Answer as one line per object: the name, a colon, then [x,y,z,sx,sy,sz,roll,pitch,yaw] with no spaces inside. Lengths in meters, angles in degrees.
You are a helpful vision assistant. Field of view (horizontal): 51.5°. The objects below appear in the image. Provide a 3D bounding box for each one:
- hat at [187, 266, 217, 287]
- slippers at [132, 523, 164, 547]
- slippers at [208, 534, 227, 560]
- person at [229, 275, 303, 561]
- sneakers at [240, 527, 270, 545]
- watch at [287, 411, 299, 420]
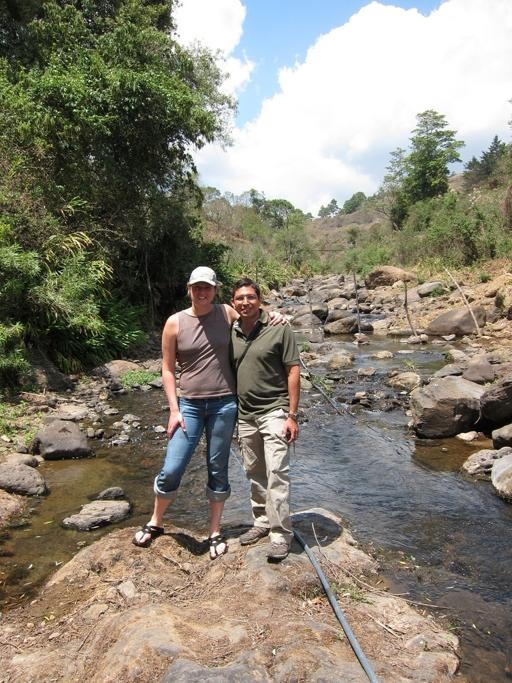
hat: [-0.371,-0.457,3.742,0.198,0.137,0.293,-1,8,-3]
slippers: [-0.791,1.410,3.879,0.094,0.084,0.241,-1,-9,21]
slippers: [-0.272,1.468,3.789,0.122,0.078,0.301,-2,-9,-4]
person: [0.080,0.605,3.654,0.469,1.654,0.767,-1,9,-3]
sneakers: [-0.020,1.384,3.764,0.237,0.095,0.084,14,-22,-42]
watch: [0.256,0.507,3.662,0.064,0.048,0.084,1,-9,-12]
